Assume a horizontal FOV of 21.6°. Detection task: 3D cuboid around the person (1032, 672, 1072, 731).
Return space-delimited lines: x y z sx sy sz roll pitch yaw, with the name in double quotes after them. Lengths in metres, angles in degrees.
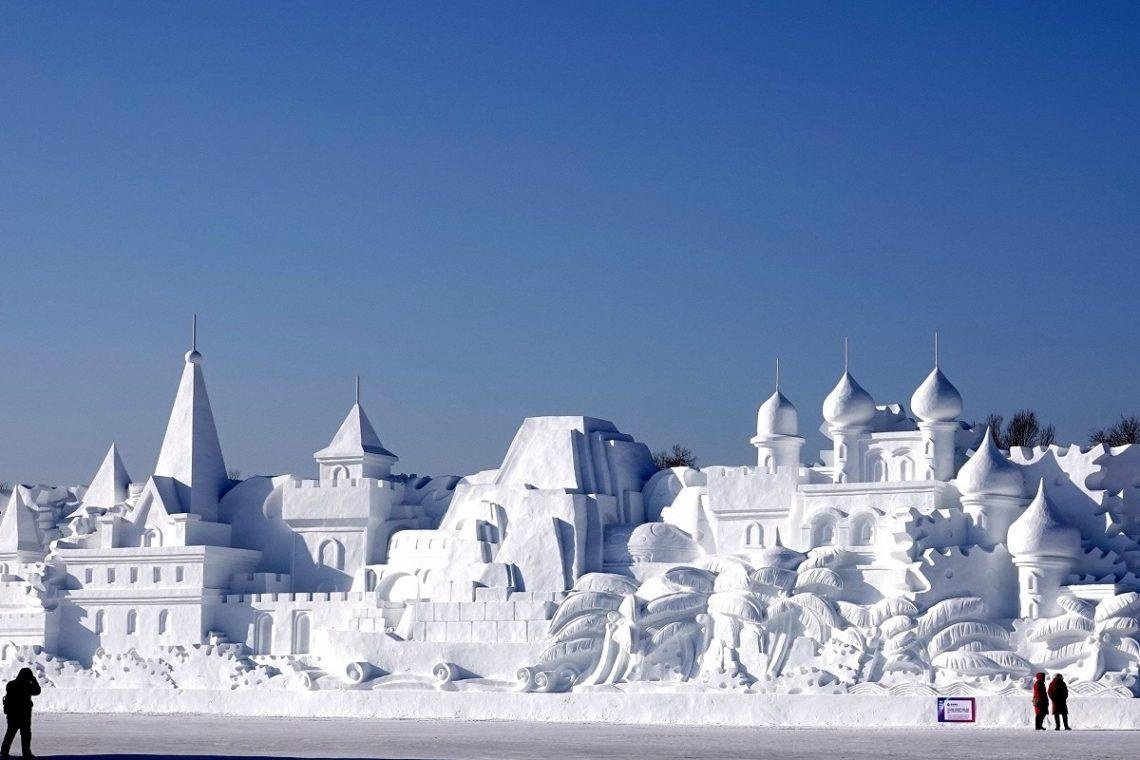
14.750 9.881 91.314 1.145 1.782 2.781 0 -8 9 "person"
